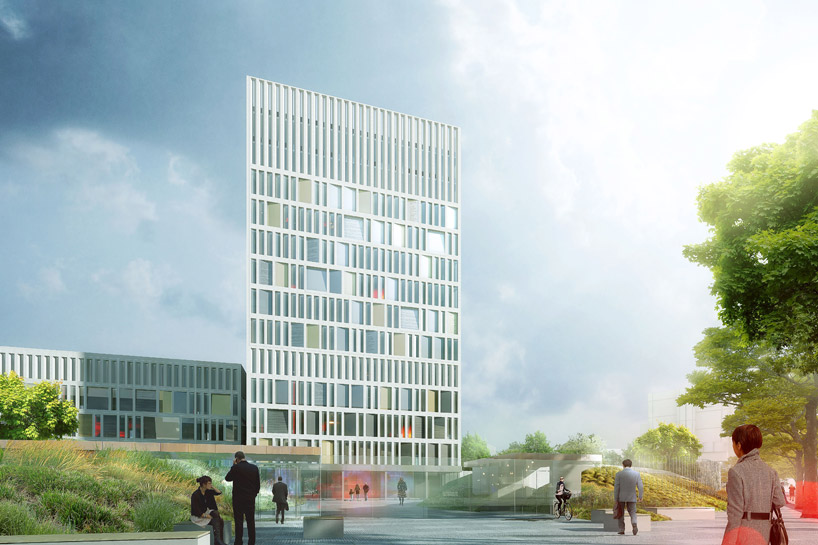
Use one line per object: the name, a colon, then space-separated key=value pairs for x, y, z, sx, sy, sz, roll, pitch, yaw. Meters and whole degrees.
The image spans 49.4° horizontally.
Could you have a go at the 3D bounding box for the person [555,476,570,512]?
person: x=6.799 y=9.846 z=39.446 sx=0.577 sy=1.529 sz=1.213 roll=-3 pitch=-20 yaw=8

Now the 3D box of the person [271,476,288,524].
person: x=-4.338 y=7.753 z=30.124 sx=0.556 sy=1.271 sz=0.188 roll=0 pitch=-19 yaw=-2
